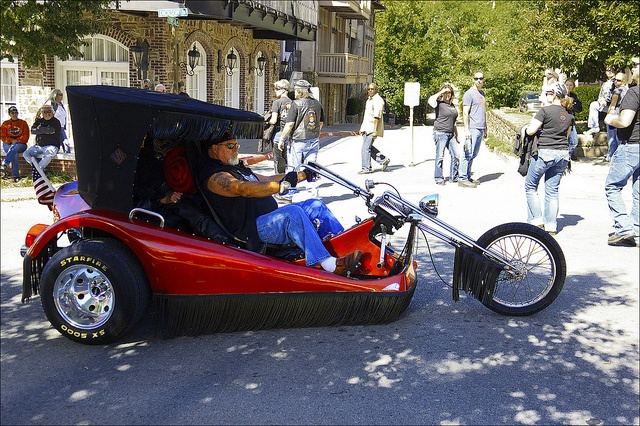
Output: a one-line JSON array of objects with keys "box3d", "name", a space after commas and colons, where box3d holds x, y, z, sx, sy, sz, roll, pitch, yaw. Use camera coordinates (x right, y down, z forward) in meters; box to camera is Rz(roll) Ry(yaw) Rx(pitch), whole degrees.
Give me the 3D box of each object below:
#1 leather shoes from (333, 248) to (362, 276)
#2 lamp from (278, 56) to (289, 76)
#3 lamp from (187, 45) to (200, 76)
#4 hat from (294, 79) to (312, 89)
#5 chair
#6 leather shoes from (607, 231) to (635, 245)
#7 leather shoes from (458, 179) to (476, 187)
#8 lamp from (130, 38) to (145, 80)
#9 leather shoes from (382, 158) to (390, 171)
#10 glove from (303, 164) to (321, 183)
[{"box3d": [0.307, 0.528, 5.614, 0.394, 0.174, 0.162, -37, 14, 17], "name": "leather shoes"}, {"box3d": [-2.212, -8.955, 32.896, 0.437, 1.002, 1.462, 0, 12, -1], "name": "lamp"}, {"box3d": [-5.070, -6.212, 21.439, 0.470, 1.211, 1.303, -2, 12, -14], "name": "lamp"}, {"box3d": [-0.417, -2.710, 11.119, 0.325, 0.186, 0.432, -13, 19, -41], "name": "hat"}, {"box3d": [-0.816, -0.228, 6.230, 0.793, 1.532, 1.111, -17, 12, 6], "name": "chair"}, {"box3d": [4.666, 0.369, 8.271, 0.428, 0.221, 0.186, 9, 16, 44], "name": "leather shoes"}, {"box3d": [3.532, -0.721, 12.830, 0.440, 0.212, 0.158, 4, 17, 12], "name": "leather shoes"}, {"box3d": [-6.344, -5.360, 18.541, 0.374, 1.283, 0.884, -2, 12, -14], "name": "lamp"}, {"box3d": [1.883, -1.394, 15.176, 0.179, 0.468, 0.156, 5, 46, -3], "name": "leather shoes"}, {"box3d": [-0.095, -0.416, 5.675, 0.120, 0.185, 0.085, 22, 20, 8], "name": "glove"}]
